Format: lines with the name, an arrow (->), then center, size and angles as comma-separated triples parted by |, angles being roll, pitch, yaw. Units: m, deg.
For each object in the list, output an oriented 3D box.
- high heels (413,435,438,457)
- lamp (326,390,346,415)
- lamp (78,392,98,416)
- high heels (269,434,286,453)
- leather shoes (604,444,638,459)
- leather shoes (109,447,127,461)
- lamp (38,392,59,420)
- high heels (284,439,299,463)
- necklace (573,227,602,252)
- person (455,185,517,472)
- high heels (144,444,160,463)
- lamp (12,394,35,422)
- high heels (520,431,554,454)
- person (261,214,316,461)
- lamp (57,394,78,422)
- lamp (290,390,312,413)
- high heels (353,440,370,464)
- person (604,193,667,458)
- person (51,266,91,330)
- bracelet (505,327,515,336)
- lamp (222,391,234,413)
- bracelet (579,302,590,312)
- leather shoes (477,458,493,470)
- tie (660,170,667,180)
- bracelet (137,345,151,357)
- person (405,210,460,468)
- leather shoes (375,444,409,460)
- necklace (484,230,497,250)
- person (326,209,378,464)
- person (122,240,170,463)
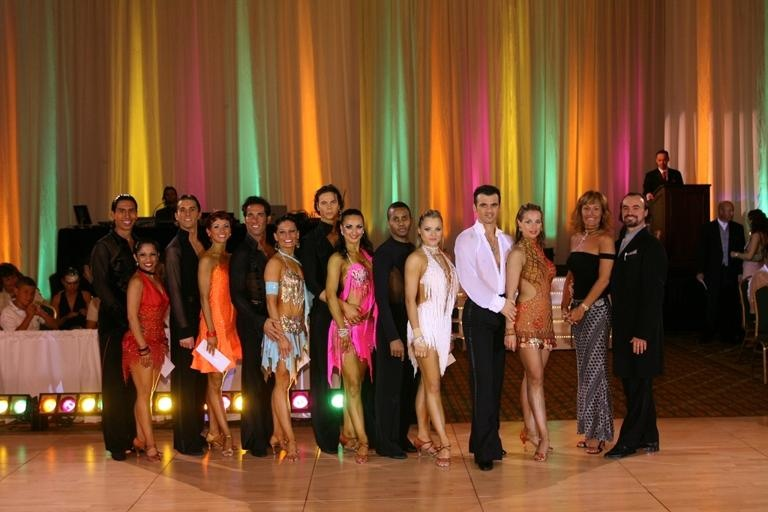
high heels -> 0.445, 1.944, 7.272 | 0.304, 0.177, 0.114 | -2, -20, 22
lamp -> -0.505, 1.539, 7.556 | 0.057, 0.258, 0.260 | -3, -4, 14
lamp -> -3.301, 1.647, 7.987 | 0.217, 0.238, 0.062 | -2, -2, 1
high heels -> -1.105, 1.951, 7.438 | 0.268, 0.166, 0.091 | -5, -3, 36
leather shoes -> 2.354, 1.961, 7.161 | 0.301, 0.093, 0.132 | 0, -3, -27
leather shoes -> -2.702, 2.003, 7.268 | 0.119, 0.130, 0.125 | 0, -17, 0
lamp -> -3.744, 1.667, 7.973 | 0.233, 0.249, 0.060 | 2, 4, -1
high heels -> -0.939, 1.972, 7.222 | 0.136, 0.192, 0.434 | 0, -9, -5
necklace -> 2.066, -0.162, 7.367 | 0.152, 0.193, 0.248 | 10, -18, -5
person -> 0.983, 0.678, 7.044 | 0.560, 2.712, 0.607 | 0, 8, 7
high heels -> -2.357, 1.952, 7.301 | 0.154, 0.197, 0.263 | -3, 8, -19
lamp -> -3.996, 1.671, 7.925 | 0.239, 0.262, 0.063 | 4, 0, -4
high heels -> 1.555, 1.892, 7.309 | 0.151, 0.234, 0.496 | -1, -9, -39
person -> -1.009, 0.804, 7.300 | 0.396, 2.385, 0.490 | 2, 8, 21
lamp -> -3.519, 1.667, 7.977 | 0.232, 0.240, 0.063 | -17, -4, -11
lamp -> -0.940, 1.629, 8.025 | 0.276, 0.316, 0.116 | 0, -1, -2
high heels -> -0.229, 1.975, 7.199 | 0.166, 0.146, 0.381 | 1, 4, -1
person -> 2.522, 0.694, 7.174 | 0.519, 2.590, 0.612 | 3, 8, 22
person -> -4.251, 0.666, 9.759 | 0.499, 0.953, 0.486 | -5, 6, -37
bracelet -> 1.221, 0.735, 6.942 | 0.075, 0.060, 0.070 | 1, -7, -13
lamp -> -1.749, 1.624, 7.967 | 0.172, 0.197, 0.059 | -2, -1, -2
bracelet -> 2.029, 0.512, 7.219 | 0.102, 0.097, 0.038 | 2, 8, 18
leather shoes -> 0.980, 2.020, 6.932 | 0.164, 0.078, 0.069 | 5, 29, 8
tie -> 4.907, -1.416, 12.540 | 0.093, 0.147, 0.051 | 6, 3, 11
bracelet -> -2.410, 0.956, 7.199 | 0.094, 0.077, 0.040 | -2, 40, -11
person -> 0.468, 0.786, 7.156 | 0.510, 2.469, 0.587 | 1, 8, 13
leather shoes -> 0.081, 1.983, 7.279 | 0.312, 0.140, 0.113 | 6, 13, 10
necklace -> 1.048, -0.149, 7.068 | 0.124, 0.193, 0.058 | -10, -3, -27
person -> -0.316, 0.773, 7.286 | 0.493, 2.486, 0.579 | 3, 8, 22
person -> -2.387, 0.940, 7.343 | 0.471, 2.169, 0.442 | 5, 9, 34
